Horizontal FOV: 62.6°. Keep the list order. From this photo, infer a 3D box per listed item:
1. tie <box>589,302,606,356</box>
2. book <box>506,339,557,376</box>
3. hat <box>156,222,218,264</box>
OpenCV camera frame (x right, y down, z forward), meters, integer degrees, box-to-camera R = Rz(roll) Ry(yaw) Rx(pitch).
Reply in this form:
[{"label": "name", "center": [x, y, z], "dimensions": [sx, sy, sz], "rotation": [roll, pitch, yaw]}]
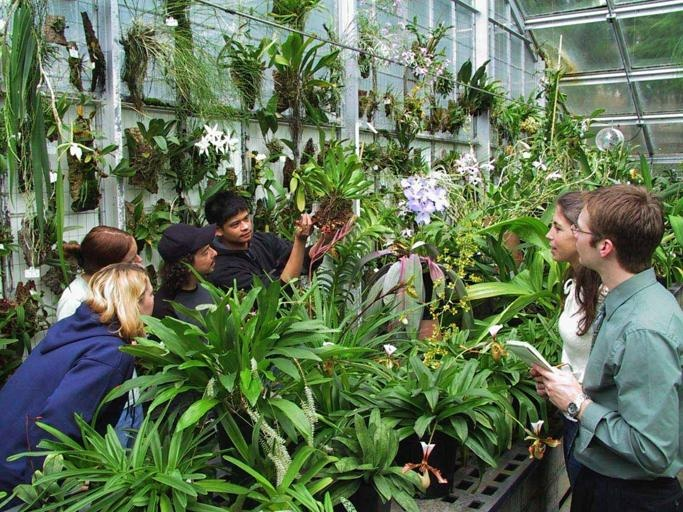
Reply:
[{"label": "tie", "center": [0.898, 0.245, 1.979], "dimensions": [0.052, 0.264, 0.050], "rotation": [6, -11, 3]}, {"label": "book", "center": [0.623, 0.330, 1.867], "dimensions": [0.126, 0.030, 0.126], "rotation": [44, -13, -29]}, {"label": "hat", "center": [-0.733, -0.058, 2.659], "dimensions": [0.224, 0.172, 0.116], "rotation": [-24, -41, 4]}]
